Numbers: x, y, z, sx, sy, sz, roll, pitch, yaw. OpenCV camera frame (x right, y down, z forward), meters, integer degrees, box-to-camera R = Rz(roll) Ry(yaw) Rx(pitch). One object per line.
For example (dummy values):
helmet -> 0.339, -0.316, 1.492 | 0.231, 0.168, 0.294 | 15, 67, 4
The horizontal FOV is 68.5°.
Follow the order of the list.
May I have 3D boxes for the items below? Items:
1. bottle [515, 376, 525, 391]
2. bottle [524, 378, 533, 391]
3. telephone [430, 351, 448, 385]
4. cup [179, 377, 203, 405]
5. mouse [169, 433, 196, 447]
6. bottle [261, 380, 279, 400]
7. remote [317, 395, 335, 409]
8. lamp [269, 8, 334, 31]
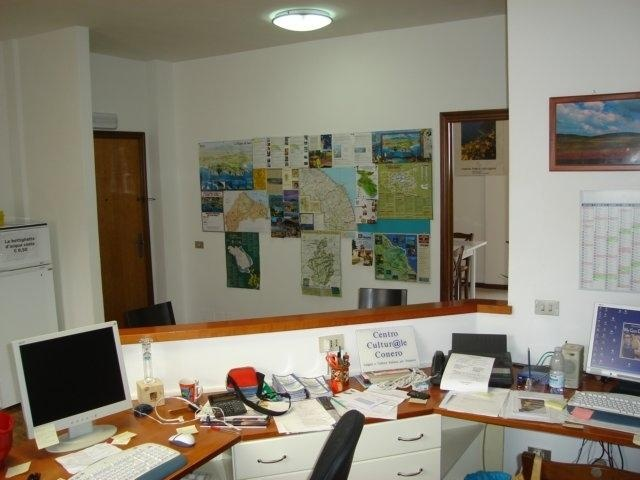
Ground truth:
bottle -> 1.271, 0.908, 2.974 | 0.051, 0.089, 0.048 | 0, 7, 0
bottle -> 1.301, 0.895, 2.920 | 0.055, 0.062, 0.056 | 2, 2, 14
telephone -> 0.766, 0.827, 3.034 | 0.076, 0.122, 0.243 | 3, 9, 14
cup -> -0.783, 0.903, 2.825 | 0.148, 0.138, 0.097 | 2, -3, 2
mouse -> -0.707, 1.014, 2.413 | 0.099, 0.032, 0.062 | 6, 5, 18
bottle -> -0.308, 0.925, 2.885 | 0.089, 0.022, 0.090 | 12, 14, -3
remote -> 0.034, 0.979, 2.827 | 0.046, 0.055, 0.203 | -26, -3, 7
lamp -> -0.176, -2.061, 4.395 | 0.610, 0.127, 0.331 | -4, 6, 1
